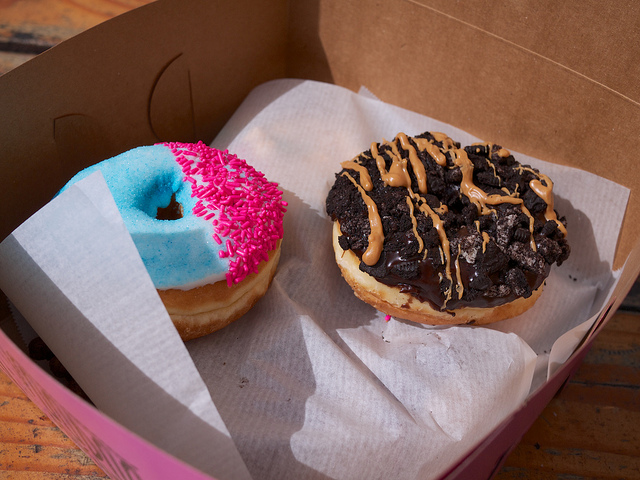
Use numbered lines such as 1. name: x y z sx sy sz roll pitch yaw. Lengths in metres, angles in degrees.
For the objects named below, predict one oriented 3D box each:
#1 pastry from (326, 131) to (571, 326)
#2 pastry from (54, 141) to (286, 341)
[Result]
1. pastry: 0.459 -0.030 2.370 0.818 0.343 0.821 11 35 7
2. pastry: -0.523 -0.030 2.405 0.893 0.362 0.920 23 35 28
